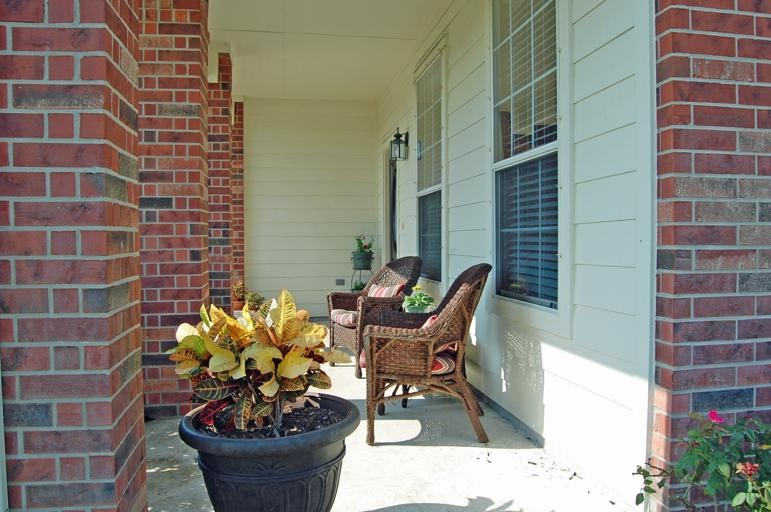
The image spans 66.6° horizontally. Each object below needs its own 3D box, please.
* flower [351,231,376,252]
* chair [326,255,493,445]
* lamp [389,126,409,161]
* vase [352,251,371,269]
[{"bbox_3d":[-0.319,-0.215,8.836,0.344,0.261,0.302,4,7,-11],"label":"flower"},{"bbox_3d":[0.155,0.701,4.477,1.248,1.348,1.048,0,-1,-6],"label":"chair"},{"bbox_3d":[0.174,-1.311,7.030,0.189,0.337,0.391,-1,7,-4],"label":"lamp"},{"bbox_3d":[-0.334,0.073,8.644,0.263,0.193,0.270,0,-5,-1],"label":"vase"}]
